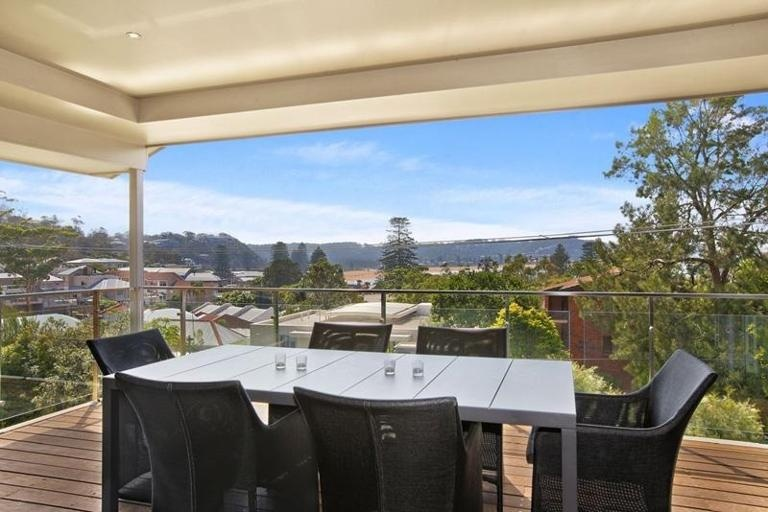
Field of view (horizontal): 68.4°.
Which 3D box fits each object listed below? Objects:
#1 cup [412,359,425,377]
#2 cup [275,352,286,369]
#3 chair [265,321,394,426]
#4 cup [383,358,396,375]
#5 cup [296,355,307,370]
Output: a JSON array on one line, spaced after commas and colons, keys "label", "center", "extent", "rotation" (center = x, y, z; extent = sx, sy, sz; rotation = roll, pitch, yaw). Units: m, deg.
[{"label": "cup", "center": [0.217, 0.718, 3.580], "extent": [0.075, 0.070, 0.085], "rotation": [-2, -9, 15]}, {"label": "cup", "center": [-0.702, 0.713, 3.806], "extent": [0.083, 0.094, 0.081], "rotation": [-1, -3, 0]}, {"label": "chair", "center": [-0.379, 0.833, 4.182], "extent": [0.695, 0.981, 0.718], "rotation": [-1, -5, 18]}, {"label": "cup", "center": [0.038, 0.721, 3.644], "extent": [0.077, 0.087, 0.083], "rotation": [0, -7, 0]}, {"label": "cup", "center": [-0.546, 0.714, 3.770], "extent": [0.074, 0.084, 0.073], "rotation": [-1, 0, 0]}]
